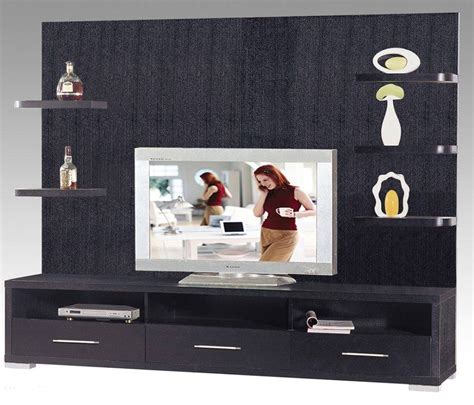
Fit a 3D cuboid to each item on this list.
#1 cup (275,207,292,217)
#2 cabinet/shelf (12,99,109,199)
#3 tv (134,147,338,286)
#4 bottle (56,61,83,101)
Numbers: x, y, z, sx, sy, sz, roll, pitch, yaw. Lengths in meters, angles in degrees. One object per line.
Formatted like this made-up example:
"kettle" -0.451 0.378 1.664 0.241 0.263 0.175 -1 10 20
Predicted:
"cup" 0.296 0.064 3.342 0.101 0.046 0.063 0 1 7
"cabinet/shelf" -1.191 -0.367 3.570 0.517 0.674 0.319 0 3 14
"tv" 0.041 0.079 3.366 1.355 0.619 0.314 1 3 7
"bottle" -1.152 -0.842 3.602 0.178 0.307 0.239 -2 3 -15
